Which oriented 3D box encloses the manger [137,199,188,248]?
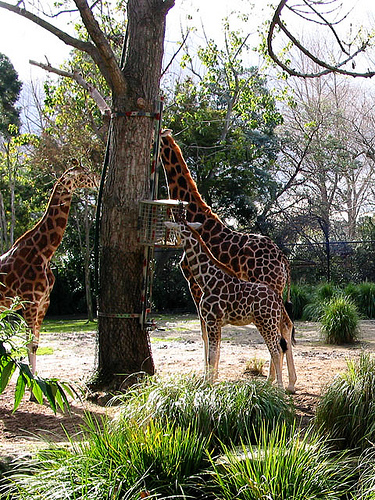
[{"bbox_3d":[-0.261,-0.290,5.468,0.389,0.592,0.388,-1,4,-37],"label":"manger"}]
